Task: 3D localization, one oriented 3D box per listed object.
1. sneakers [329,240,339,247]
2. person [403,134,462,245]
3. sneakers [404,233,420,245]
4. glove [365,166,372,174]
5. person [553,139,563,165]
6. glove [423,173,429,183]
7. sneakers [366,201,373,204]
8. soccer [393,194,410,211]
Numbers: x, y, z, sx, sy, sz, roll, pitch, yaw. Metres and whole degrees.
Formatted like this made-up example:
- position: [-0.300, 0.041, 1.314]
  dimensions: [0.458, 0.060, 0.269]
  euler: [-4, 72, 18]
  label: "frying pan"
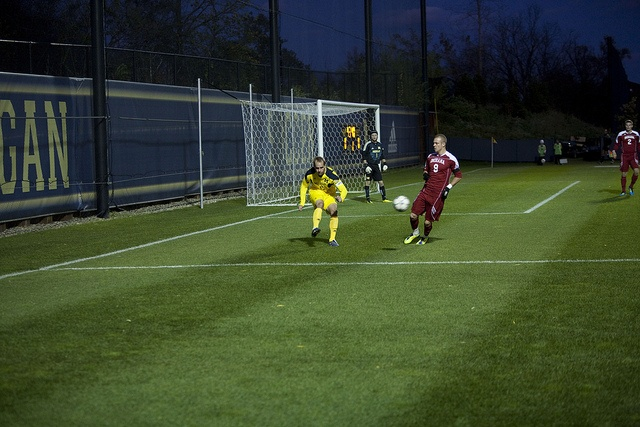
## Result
- position: [0.258, 0.587, 10.337]
  dimensions: [0.188, 0.139, 0.203]
  euler: [-1, 9, 3]
  label: "sneakers"
- position: [2.302, -0.510, 10.607]
  dimensions: [1.037, 2.140, 1.349]
  euler: [1, 9, 14]
  label: "person"
- position: [1.850, 0.509, 10.436]
  dimensions: [0.405, 0.164, 0.133]
  euler: [-26, 2, -43]
  label: "sneakers"
- position: [1.613, -1.463, 17.589]
  dimensions: [0.236, 0.250, 0.230]
  euler: [-1, 9, 2]
  label: "glove"
- position: [17.018, -4.373, 37.303]
  dimensions: [0.421, 1.739, 1.478]
  euler: [2, 10, 25]
  label: "person"
- position: [2.039, -0.726, 10.174]
  dimensions: [0.114, 0.123, 0.141]
  euler: [0, -3, 3]
  label: "glove"
- position: [1.629, -0.378, 17.523]
  dimensions: [0.082, 0.073, 0.162]
  euler: [-4, 1, -34]
  label: "sneakers"
- position: [1.678, -0.171, 10.737]
  dimensions: [0.320, 0.323, 0.307]
  euler: [-34, 24, -33]
  label: "soccer"
